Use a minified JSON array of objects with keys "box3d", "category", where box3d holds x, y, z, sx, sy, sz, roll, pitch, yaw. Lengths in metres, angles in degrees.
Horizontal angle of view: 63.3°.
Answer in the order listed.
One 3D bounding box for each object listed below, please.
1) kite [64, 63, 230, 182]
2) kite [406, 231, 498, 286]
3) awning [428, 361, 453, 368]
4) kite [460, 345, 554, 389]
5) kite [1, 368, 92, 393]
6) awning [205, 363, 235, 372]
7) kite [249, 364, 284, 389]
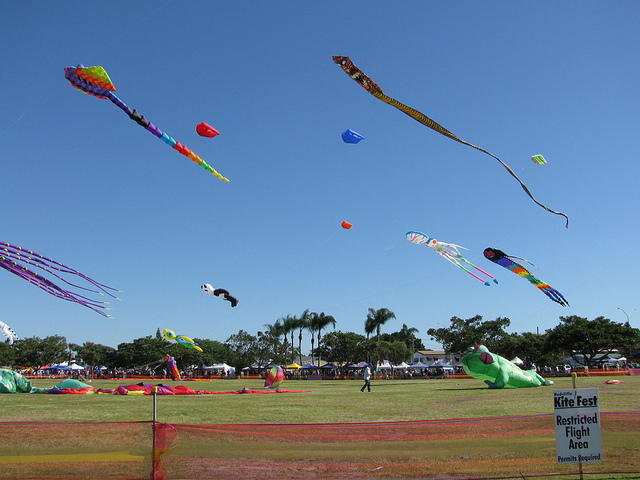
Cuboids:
[{"box3d":[-4.226,-2.885,10.986,4.273,1.584,0.495,37,-56,4],"category":"kite"},{"box3d":[4.302,0.317,17.129,3.456,0.875,0.823,28,-35,6],"category":"kite"},{"box3d":[18.430,19.275,79.871,2.326,0.637,2.112,6,-14,-24],"category":"awning"},{"box3d":[11.702,8.470,33.717,5.095,2.325,2.721,9,-13,-9],"category":"kite"},{"box3d":[-17.326,8.850,32.005,5.516,1.240,1.823,1,-7,-7],"category":"kite"},{"box3d":[-16.916,21.511,87.878,3.403,1.342,3.517,-16,-25,40],"category":"awning"},{"box3d":[-3.858,11.283,42.007,1.147,1.370,1.818,25,-54,-2],"category":"kite"}]
